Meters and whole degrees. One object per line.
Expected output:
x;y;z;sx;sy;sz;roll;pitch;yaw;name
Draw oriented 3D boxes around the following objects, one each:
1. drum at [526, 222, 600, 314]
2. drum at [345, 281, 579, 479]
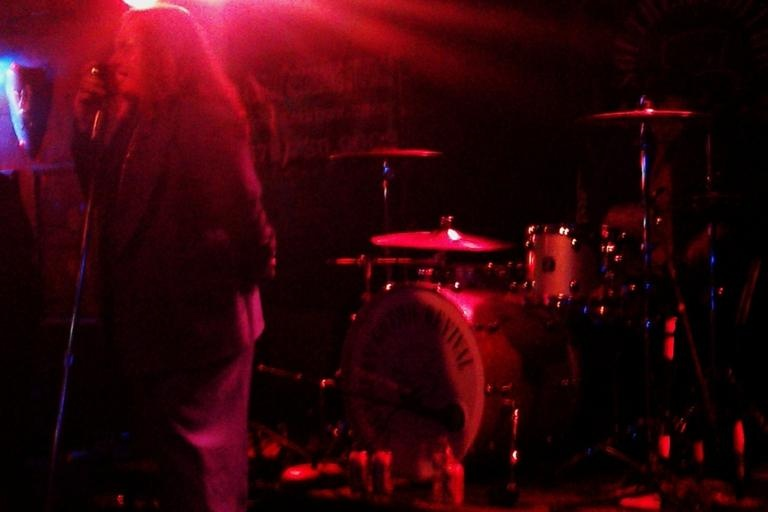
0.974;0.041;4.144;0.413;0.421;0.429;-3;1;18;drum
0.503;0.670;4.644;1.158;1.178;1.155;-4;-5;40;drum
